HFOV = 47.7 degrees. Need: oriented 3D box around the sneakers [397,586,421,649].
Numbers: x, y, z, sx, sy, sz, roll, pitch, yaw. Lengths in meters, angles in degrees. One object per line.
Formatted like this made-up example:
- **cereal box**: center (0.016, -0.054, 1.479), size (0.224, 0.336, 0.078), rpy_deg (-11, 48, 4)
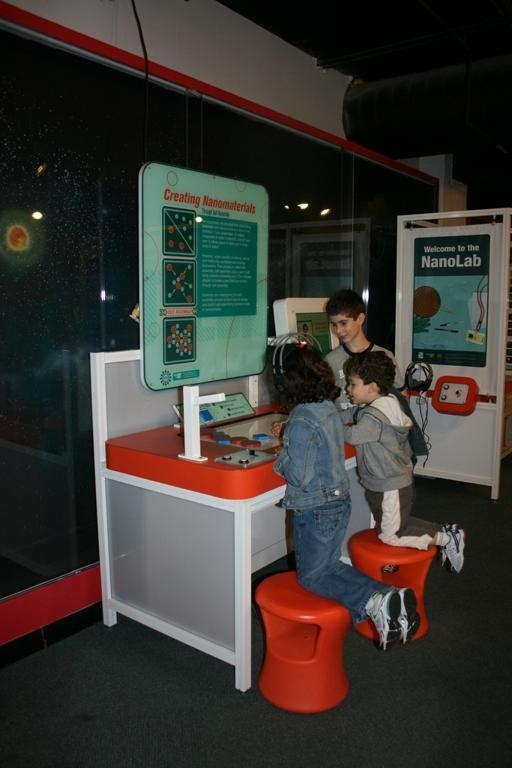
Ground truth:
- **sneakers**: center (0.474, 0.732, 1.805), size (0.065, 0.195, 0.084), rpy_deg (1, 16, -5)
